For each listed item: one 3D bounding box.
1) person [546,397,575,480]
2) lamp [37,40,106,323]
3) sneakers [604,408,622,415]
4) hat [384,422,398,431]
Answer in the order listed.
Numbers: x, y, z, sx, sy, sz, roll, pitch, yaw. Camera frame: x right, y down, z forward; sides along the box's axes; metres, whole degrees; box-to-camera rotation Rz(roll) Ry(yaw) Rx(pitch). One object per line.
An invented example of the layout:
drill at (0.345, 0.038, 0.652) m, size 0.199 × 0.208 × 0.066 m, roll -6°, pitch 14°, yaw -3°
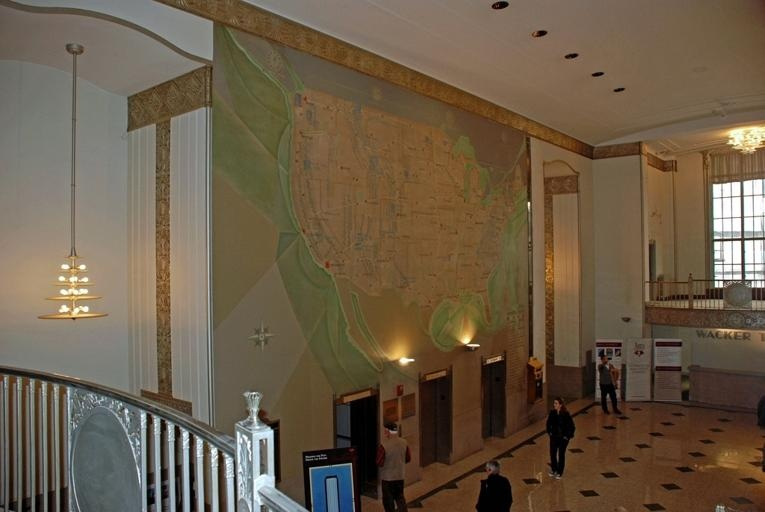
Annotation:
person at (4.025, 3.989, 13.495) m, size 0.543 × 1.778 × 1.013 m, roll 0°, pitch 3°, yaw 18°
lamp at (-5.596, -1.255, 10.674) m, size 0.862 × 5.018 × 1.970 m, roll -3°, pitch 4°, yaw -26°
sneakers at (6.763, 4.583, 17.517) m, size 0.426 × 0.309 × 0.144 m, roll -3°, pitch 4°, yaw 21°
hat at (0.110, 3.178, 11.150) m, size 0.267 × 0.153 × 0.174 m, roll -6°, pitch -5°, yaw 44°
